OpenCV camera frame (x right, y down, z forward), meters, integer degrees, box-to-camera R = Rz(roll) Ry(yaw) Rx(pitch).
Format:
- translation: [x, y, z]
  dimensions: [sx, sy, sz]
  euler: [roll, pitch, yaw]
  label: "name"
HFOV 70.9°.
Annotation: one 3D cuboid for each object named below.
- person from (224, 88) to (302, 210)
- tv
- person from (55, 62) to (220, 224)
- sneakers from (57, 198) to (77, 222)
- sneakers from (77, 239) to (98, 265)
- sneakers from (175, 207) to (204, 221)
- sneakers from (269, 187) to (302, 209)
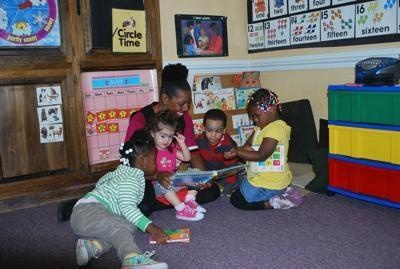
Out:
- translation: [0.472, 0.114, 2.355]
  dimensions: [0.684, 0.903, 0.620]
  euler: [-1, 6, -14]
  label: "person"
- translation: [0.020, -1.072, 3.094]
  dimensions: [0.675, 0.443, 0.012]
  euler: [-13, 19, -32]
  label: "tv"
- translation: [-0.350, 0.024, 2.571]
  dimensions: [1.452, 1.307, 0.916]
  euler: [9, 8, 32]
  label: "person"
- translation: [-1.027, 0.576, 2.142]
  dimensions: [0.144, 0.150, 0.054]
  euler: [4, -4, -15]
  label: "sneakers"
- translation: [-0.643, 0.669, 1.620]
  dimensions: [0.119, 0.170, 0.090]
  euler: [8, 12, -18]
  label: "sneakers"
- translation: [-0.076, 0.591, 2.097]
  dimensions: [0.198, 0.076, 0.081]
  euler: [0, 4, 4]
  label: "sneakers"
- translation: [0.677, 0.499, 2.203]
  dimensions: [0.184, 0.081, 0.156]
  euler: [-4, 7, 15]
  label: "sneakers"
